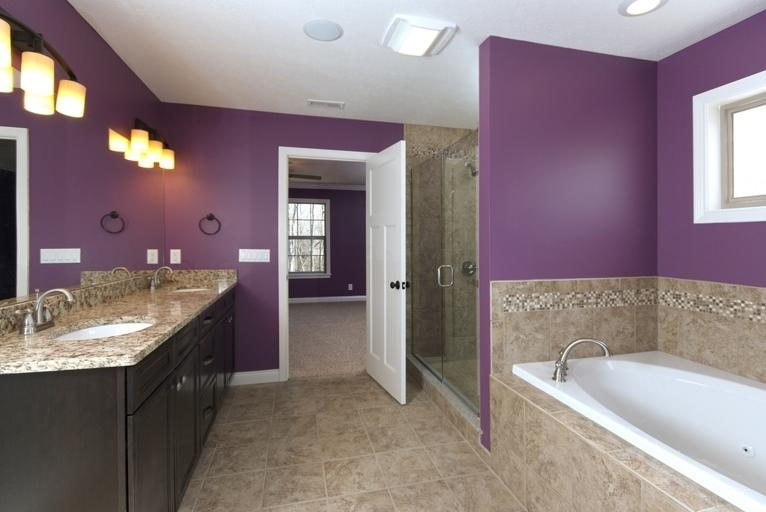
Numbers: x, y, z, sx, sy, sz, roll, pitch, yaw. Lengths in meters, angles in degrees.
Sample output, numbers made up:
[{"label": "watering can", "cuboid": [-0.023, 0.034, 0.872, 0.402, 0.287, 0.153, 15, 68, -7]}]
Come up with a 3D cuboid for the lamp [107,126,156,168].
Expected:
[{"label": "lamp", "cuboid": [-1.933, -0.835, 3.888, 0.199, 0.105, 0.392, -2, -1, 1]}]

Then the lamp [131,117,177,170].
[{"label": "lamp", "cuboid": [-1.949, -0.930, 4.194, 0.446, 0.299, 0.246, 18, -8, -39]}]

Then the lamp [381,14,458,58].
[{"label": "lamp", "cuboid": [0.249, -1.567, 3.628, 0.499, 0.136, 0.407, -2, 2, -11]}]

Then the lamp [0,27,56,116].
[{"label": "lamp", "cuboid": [-2.009, -1.053, 2.869, 0.254, 0.313, 0.308, -4, 2, -39]}]
